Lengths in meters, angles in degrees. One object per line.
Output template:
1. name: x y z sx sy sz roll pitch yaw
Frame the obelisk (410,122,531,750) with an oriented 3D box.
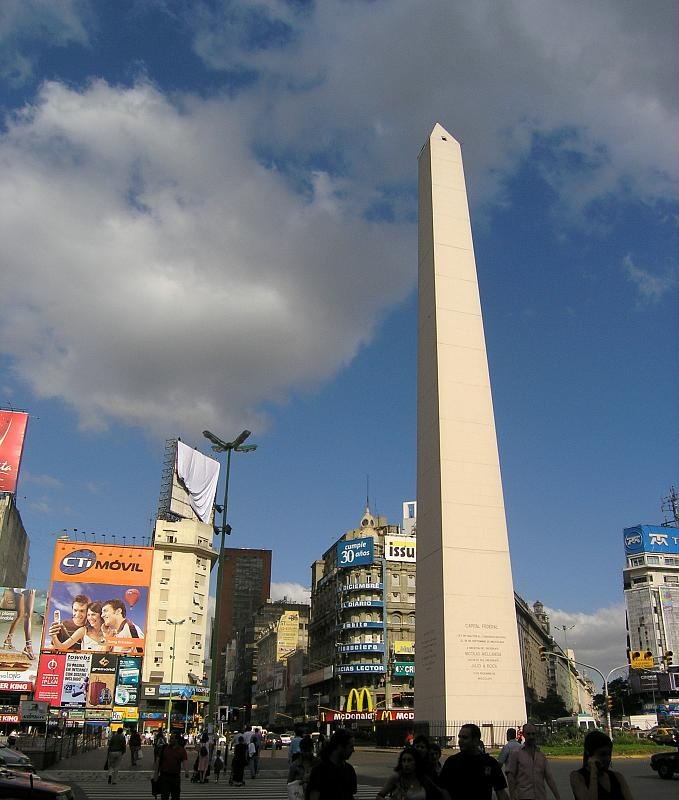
1. obelisk: 5.438 -0.735 32.150 3.860 29.870 2.689 -2 -21 9
